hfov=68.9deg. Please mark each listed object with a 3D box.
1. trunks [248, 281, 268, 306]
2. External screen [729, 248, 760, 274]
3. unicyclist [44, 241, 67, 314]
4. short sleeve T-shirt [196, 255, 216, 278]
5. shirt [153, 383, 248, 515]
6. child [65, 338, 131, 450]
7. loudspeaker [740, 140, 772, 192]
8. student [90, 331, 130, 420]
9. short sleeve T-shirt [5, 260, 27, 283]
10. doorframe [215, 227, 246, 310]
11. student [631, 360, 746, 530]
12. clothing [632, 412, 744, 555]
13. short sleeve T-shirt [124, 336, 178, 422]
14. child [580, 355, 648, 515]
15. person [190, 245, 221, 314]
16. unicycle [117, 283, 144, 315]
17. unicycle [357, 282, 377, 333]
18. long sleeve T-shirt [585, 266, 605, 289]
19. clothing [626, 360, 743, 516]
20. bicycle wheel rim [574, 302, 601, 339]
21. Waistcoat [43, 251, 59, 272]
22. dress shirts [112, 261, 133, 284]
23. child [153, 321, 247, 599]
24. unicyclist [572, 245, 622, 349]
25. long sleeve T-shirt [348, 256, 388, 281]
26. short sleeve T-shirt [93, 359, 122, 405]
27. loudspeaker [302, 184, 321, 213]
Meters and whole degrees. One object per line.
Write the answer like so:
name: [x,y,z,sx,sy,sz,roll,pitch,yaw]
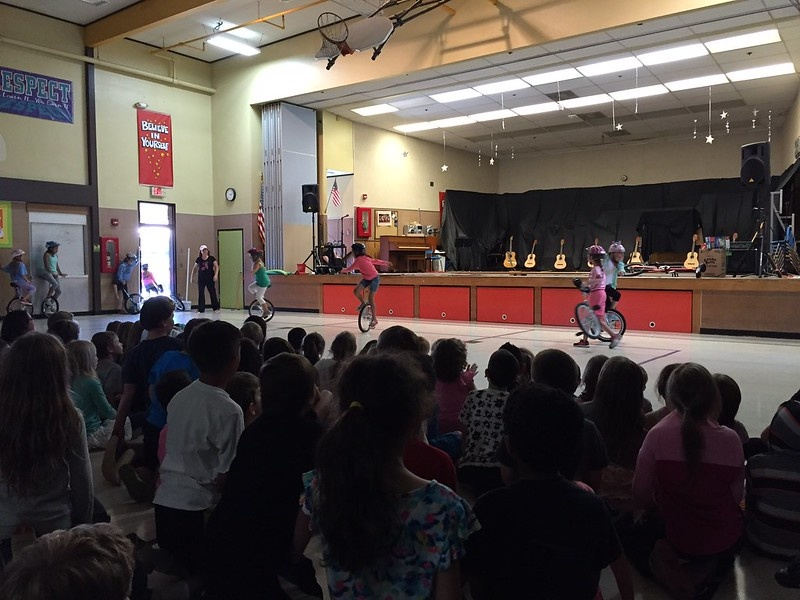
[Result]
trunks: [-2.878,-0.124,11.843,0.298,0.493,0.608,0,6,-15]
External screen: [7.547,-0.868,12.827,0.359,0.515,0.682,0,1,32]
unicyclist: [-7.529,-0.523,12.651,0.428,1.531,0.414,1,3,-5]
short sleeve T-shirt: [-4.808,-0.787,14.737,0.654,0.732,0.385,-1,1,-18]
shirt: [-1.006,0.696,2.917,0.406,0.593,0.364,12,-1,27]
child: [-2.088,0.622,4.108,0.368,0.685,0.435,0,3,35]
loudspeaker: [5.999,-2.212,9.877,0.448,0.852,0.401,-2,-13,43]
student: [-2.286,0.565,4.621,0.197,0.640,0.363,-7,2,-44]
short sleeve T-shirt: [-7.938,-0.577,12.031,0.362,0.540,0.193,-4,-6,-2]
doorframe: [-4.643,-0.853,16.101,1.118,2.148,0.301,5,6,37]
student: [1.420,0.740,2.977,0.477,0.952,0.746,-7,12,15]
clothing: [1.363,0.849,3.028,0.552,0.836,0.599,-1,12,19]
short sleeve T-shirt: [-1.721,0.558,4.112,0.438,0.614,0.219,10,16,-7]
child: [1.267,0.655,3.521,0.398,1.164,0.683,1,40,19]
person: [-4.890,-0.537,14.696,0.542,1.679,0.481,-1,2,-17]
unicycle: [-6.291,-0.012,13.531,0.418,0.736,0.334,2,0,-20]
unicycle: [-0.607,0.233,10.525,0.354,0.536,0.787,1,6,1]
long sleeve T-shirt: [2.796,-0.300,8.291,0.260,0.351,0.328,2,6,13]
clothing: [1.319,0.648,3.032,0.485,0.842,0.666,0,4,20]
bicycle wheel rim: [2.792,0.306,8.663,0.187,0.494,0.468,-24,-6,-4]
Waistcoat: [-7.529,-0.785,12.570,0.244,0.438,0.236,-2,6,-29]
dress shirts: [-6.695,-0.676,14.004,0.282,0.627,0.385,11,-1,28]
child: [-0.997,0.923,3.000,0.464,1.668,0.434,2,14,-32]
unicyclist: [2.883,-0.046,8.485,0.621,1.456,0.733,3,5,19]
long sleeve T-shirt: [-0.691,-0.635,12.101,0.610,0.330,0.372,-7,32,-10]
short sleeve T-shirt: [-2.266,0.664,4.601,0.151,0.370,0.400,-4,-3,-44]
loudspeaker: [-2.181,-2.459,14.182,0.349,0.674,0.381,-1,5,-19]
